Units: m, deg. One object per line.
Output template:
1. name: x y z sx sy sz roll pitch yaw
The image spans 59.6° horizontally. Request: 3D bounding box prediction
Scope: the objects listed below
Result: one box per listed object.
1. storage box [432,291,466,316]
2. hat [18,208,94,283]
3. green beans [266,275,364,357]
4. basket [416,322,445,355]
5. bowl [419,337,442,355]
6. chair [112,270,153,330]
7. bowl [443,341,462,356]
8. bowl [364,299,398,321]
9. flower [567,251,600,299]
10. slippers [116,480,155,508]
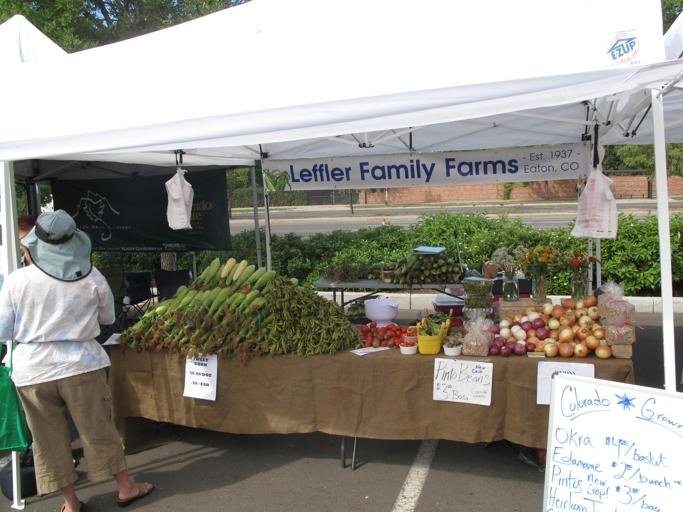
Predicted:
1. storage box: 1.219 0.530 6.663 0.477 0.223 0.643 1 2 13
2. hat: -2.148 -0.076 4.492 0.471 0.518 0.317 -9 15 -25
3. green beans: -0.206 0.486 5.173 0.707 0.676 0.564 5 9 34
4. basket: 0.733 0.695 4.881 0.194 0.211 0.217 1 5 11
5. bowl: 0.726 0.725 4.851 0.195 0.157 0.125 -2 14 2
6. chair: -3.154 0.634 9.027 0.781 1.214 0.700 0 8 -18
7. bowl: 0.900 0.753 4.802 0.140 0.093 0.090 0 14 7
8. bowl: 0.378 0.514 5.639 0.216 0.172 0.261 0 -2 -4
9. flower: 2.294 0.190 5.683 0.212 0.563 0.929 4 15 24
10. slippers: -1.644 1.893 4.766 0.132 0.096 0.254 6 12 37
